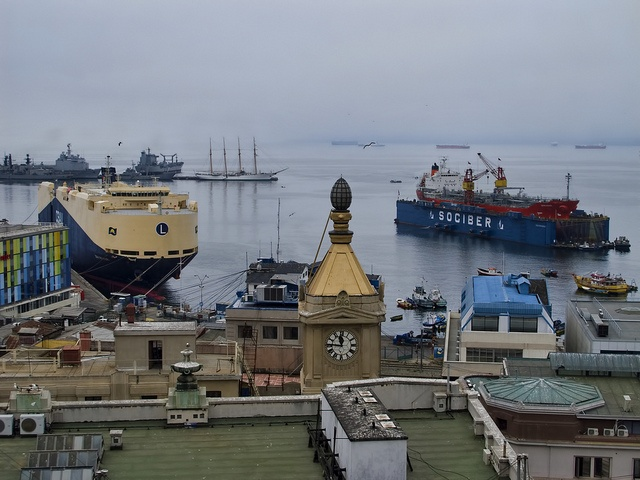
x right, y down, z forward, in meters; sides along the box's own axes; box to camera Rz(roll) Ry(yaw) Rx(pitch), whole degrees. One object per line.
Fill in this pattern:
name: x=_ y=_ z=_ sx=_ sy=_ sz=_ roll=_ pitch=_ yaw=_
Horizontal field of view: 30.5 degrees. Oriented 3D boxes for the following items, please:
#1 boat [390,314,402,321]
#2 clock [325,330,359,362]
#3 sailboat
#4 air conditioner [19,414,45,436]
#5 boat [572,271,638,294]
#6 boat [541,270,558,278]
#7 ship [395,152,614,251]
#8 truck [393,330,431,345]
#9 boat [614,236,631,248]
boat: x=7.594 y=7.714 z=115.579 sx=1.188 sy=0.478 sz=2.548 roll=-1 pitch=2 yaw=5
clock: x=0.839 y=4.072 z=45.589 sx=0.884 sy=0.896 sz=0.064 roll=-37 pitch=3 yaw=9
sailboat: x=-24.224 y=-25.345 z=374.497 sx=28.246 sy=14.161 sz=4.507 roll=2 pitch=-5 yaw=8
air conditioner: x=-9.735 y=6.320 z=39.992 sx=0.663 sy=0.616 sz=0.700 roll=5 pitch=19 yaw=-10
boat: x=31.851 y=5.097 z=132.871 sx=5.450 sy=2.095 sz=3.297 roll=5 pitch=5 yaw=18
boat: x=28.763 y=4.171 z=147.357 sx=0.895 sy=0.722 sz=1.942 roll=2 pitch=7 yaw=1
ship: x=30.243 y=-1.441 z=201.105 sx=16.065 sy=15.826 sz=43.816 roll=-3 pitch=5 yaw=-29
truck: x=7.536 y=8.110 z=94.757 sx=2.401 sy=0.996 sz=1.825 roll=0 pitch=0 yaw=-3
boat: x=46.067 y=0.468 z=178.749 sx=2.366 sy=1.693 sz=4.424 roll=0 pitch=2 yaw=15
